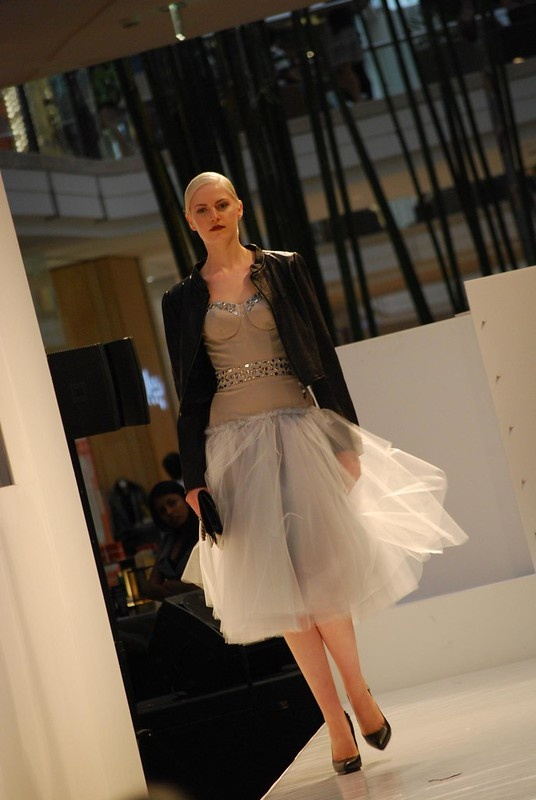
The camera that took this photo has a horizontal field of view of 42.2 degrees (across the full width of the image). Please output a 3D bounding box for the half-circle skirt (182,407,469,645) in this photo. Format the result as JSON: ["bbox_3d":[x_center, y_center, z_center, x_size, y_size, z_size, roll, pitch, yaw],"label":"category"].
[{"bbox_3d":[0.134,0.254,1.669,0.674,0.515,0.309,-21,5,-12],"label":"half-circle skirt"}]

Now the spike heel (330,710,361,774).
[{"bbox_3d":[0.171,0.766,1.587,0.047,0.150,0.035,-22,-28,22],"label":"spike heel"}]

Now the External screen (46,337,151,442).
[{"bbox_3d":[-0.416,-0.028,1.850,0.379,0.231,0.226,-10,-3,33],"label":"External screen"}]

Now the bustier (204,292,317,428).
[{"bbox_3d":[-0.017,-0.100,1.686,0.250,0.275,0.151,-23,-9,-2],"label":"bustier"}]

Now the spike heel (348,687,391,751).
[{"bbox_3d":[0.243,0.736,1.623,0.082,0.151,0.030,-32,-40,9],"label":"spike heel"}]
